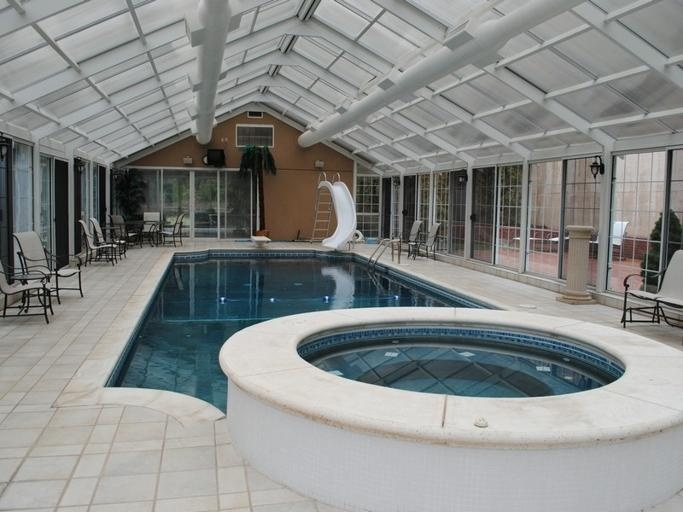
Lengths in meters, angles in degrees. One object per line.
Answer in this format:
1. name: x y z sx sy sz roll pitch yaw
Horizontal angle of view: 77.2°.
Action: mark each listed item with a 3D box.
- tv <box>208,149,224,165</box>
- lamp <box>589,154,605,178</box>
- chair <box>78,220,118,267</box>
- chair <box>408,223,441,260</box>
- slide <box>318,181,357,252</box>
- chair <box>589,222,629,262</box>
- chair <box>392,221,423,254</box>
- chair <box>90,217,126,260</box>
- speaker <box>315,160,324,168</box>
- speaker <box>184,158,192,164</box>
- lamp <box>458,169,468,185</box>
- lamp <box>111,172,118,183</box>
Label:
1. tv: -5.517 -4.356 18.654 0.647 0.572 0.341 1 10 -4
2. lamp: 4.991 -1.773 8.382 0.218 0.418 0.340 2 7 14
3. chair: -6.815 -0.503 12.301 1.001 1.387 1.201 9 -1 -9
4. chair: 2.955 -0.580 15.277 1.135 1.234 1.731 1 6 9
5. slide: -0.111 -1.562 16.321 1.166 2.669 1.988 -2 7 -12
6. chair: 5.293 -0.325 8.193 0.479 0.851 0.673 -6 6 -20
7. chair: 2.403 -0.625 15.334 0.946 1.065 0.763 1 -2 14
8. chair: -7.126 -0.509 13.003 0.783 1.234 1.047 1 -5 -40
9. speaker: -1.033 -4.279 19.662 0.347 0.341 0.333 1 7 6
10. speaker: -6.694 -4.199 18.657 0.393 0.254 0.226 -3 7 -23
11. lamp: 3.777 -2.503 13.341 0.336 0.407 0.422 0 -1 8
12. lamp: -9.374 -3.285 17.683 0.259 0.443 0.704 -2 7 -18
